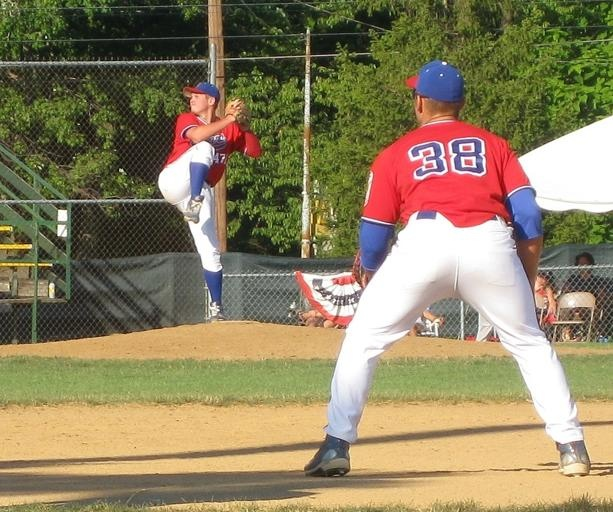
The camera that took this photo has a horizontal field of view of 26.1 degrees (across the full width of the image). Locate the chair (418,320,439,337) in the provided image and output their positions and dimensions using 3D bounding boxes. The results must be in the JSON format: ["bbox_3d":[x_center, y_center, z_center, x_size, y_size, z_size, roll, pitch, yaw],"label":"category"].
[{"bbox_3d":[1.880,1.110,20.463,0.294,0.296,0.217,-7,16,-17],"label":"chair"}]

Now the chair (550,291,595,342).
[{"bbox_3d":[3.998,0.862,19.936,0.682,1.043,0.770,2,4,-1],"label":"chair"}]

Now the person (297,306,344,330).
[{"bbox_3d":[0.156,0.940,20.245,0.248,0.264,0.912,-32,19,-36],"label":"person"}]

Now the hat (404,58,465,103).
[{"bbox_3d":[1.172,-1.626,12.088,0.328,0.248,0.463,-3,27,-25],"label":"hat"}]

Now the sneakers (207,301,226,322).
[{"bbox_3d":[-1.287,0.769,18.441,0.139,0.173,0.413,0,1,8],"label":"sneakers"}]

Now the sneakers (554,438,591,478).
[{"bbox_3d":[2.372,1.792,11.791,0.299,0.342,0.185,1,8,8],"label":"sneakers"}]

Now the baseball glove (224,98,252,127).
[{"bbox_3d":[-0.877,-1.867,16.866,0.298,0.135,0.399,36,-8,13],"label":"baseball glove"}]

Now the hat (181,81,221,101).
[{"bbox_3d":[-1.399,-2.234,17.442,0.456,0.227,0.279,6,-3,-10],"label":"hat"}]
